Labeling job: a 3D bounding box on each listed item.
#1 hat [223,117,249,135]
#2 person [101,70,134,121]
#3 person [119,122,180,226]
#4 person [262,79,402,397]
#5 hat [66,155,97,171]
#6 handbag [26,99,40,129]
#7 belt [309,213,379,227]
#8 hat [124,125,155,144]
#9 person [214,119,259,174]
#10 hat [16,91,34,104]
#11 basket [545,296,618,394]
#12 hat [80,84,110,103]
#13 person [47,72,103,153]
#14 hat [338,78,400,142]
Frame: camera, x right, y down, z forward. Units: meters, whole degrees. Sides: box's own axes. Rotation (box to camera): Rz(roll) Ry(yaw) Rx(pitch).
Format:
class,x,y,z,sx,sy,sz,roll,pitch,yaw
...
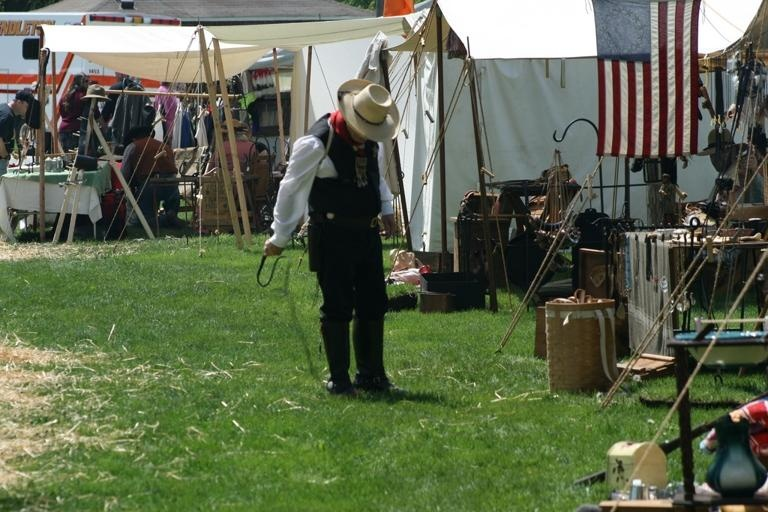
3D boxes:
class,x,y,z,sx,sy,sz,roll,pitch,yaw
hat,-2.278,-2.043,23.540,0.304,0.189,0.473,4,-2,14
person,-4.481,-2.663,24.887,0.478,0.827,2.610,0,6,-10
person,-3.600,-1.197,22.709,0.769,1.091,1.839,-8,-37,-10
person,-0.462,-0.193,15.585,1.154,3.232,0.420,1,4,-1
hat,-4.203,-1.329,21.072,0.419,0.221,0.344,-2,7,-31
handbag,-5.274,-2.153,22.386,0.168,0.441,0.553,-1,6,-19
belt,-0.405,-0.380,15.569,0.715,0.151,0.136,0,5,-14
hat,-3.707,-1.845,22.522,0.384,0.283,0.668,0,6,-11
person,-2.308,-1.697,23.012,0.659,0.762,1.434,0,6,-7
hat,-5.398,-2.389,22.372,0.222,0.233,0.184,-13,13,9
basket,2.015,0.957,15.987,0.958,1.310,0.803,0,-3,-7
hat,-4.147,-2.352,21.282,0.435,0.250,0.479,3,-2,8
person,-4.971,-2.319,23.955,0.577,1.268,1.747,0,6,-13
hat,-0.163,-1.573,15.498,0.561,0.698,0.247,-7,-22,-40
